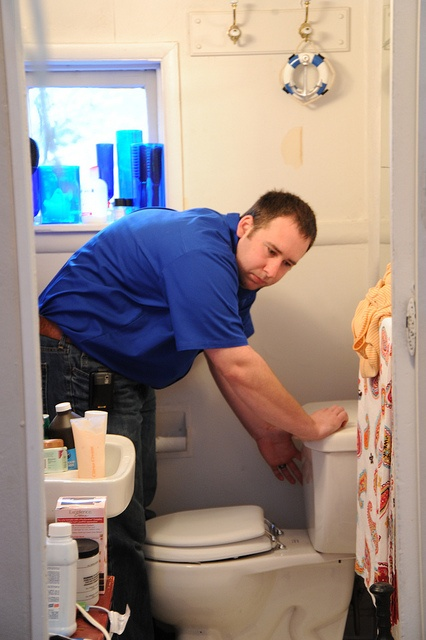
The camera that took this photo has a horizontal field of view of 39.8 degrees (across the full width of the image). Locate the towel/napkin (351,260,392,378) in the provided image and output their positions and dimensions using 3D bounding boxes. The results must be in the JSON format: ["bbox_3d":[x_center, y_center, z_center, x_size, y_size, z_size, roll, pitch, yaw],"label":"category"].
[{"bbox_3d":[0.343,0.009,1.268,0.085,0.238,0.271,-3,8,16],"label":"towel/napkin"}]

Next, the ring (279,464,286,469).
[{"bbox_3d":[0.220,0.465,1.866,0.015,0.006,0.021,-2,5,7],"label":"ring"}]

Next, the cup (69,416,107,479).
[{"bbox_3d":[-0.224,0.230,1.074,0.057,0.114,0.076,-1,-2,-5],"label":"cup"}]

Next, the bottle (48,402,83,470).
[{"bbox_3d":[-0.302,0.238,1.155,0.075,0.122,0.072,0,-11,0],"label":"bottle"}]

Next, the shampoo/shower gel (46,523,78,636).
[{"bbox_3d":[-0.211,0.364,0.820,0.042,0.126,0.072,1,8,-4],"label":"shampoo/shower gel"}]

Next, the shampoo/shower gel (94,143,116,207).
[{"bbox_3d":[-0.351,-0.477,1.917,0.057,0.186,0.051,-5,24,-17],"label":"shampoo/shower gel"}]

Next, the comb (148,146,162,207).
[{"bbox_3d":[-0.188,-0.448,1.902,0.051,0.224,0.018,-16,41,-25],"label":"comb"}]

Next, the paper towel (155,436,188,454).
[{"bbox_3d":[-0.140,0.419,1.973,0.102,0.054,0.069,1,-4,-5],"label":"paper towel"}]

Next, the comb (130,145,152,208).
[{"bbox_3d":[-0.232,-0.462,1.872,0.046,0.174,0.091,-2,14,-15],"label":"comb"}]
